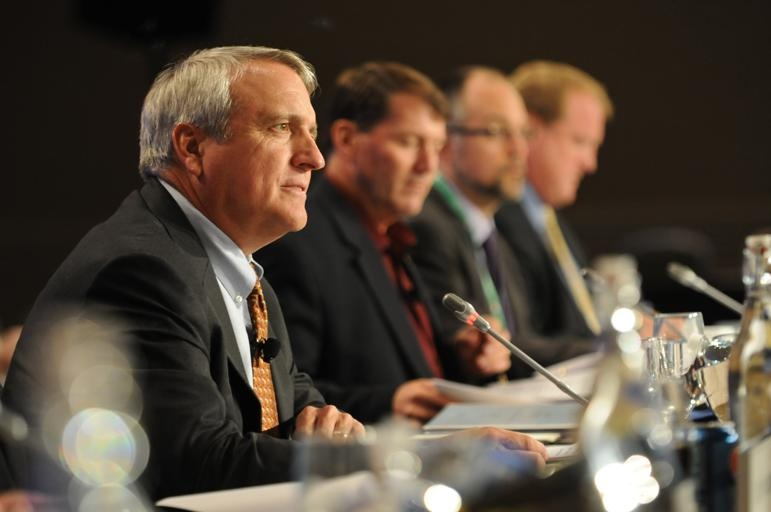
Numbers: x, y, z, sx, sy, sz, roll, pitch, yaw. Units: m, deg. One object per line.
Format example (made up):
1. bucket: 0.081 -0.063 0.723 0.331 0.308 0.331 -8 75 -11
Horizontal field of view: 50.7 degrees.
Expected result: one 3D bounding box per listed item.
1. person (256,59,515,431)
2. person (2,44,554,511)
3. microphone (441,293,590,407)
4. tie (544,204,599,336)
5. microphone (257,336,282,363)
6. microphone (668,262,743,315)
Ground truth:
1. person: -0.111 0.071 3.527 1.142 1.618 1.034 -4 -9 16
2. person: -0.254 0.035 2.191 1.236 1.037 0.856 -3 -6 5
3. microphone: 0.429 0.328 2.789 0.563 0.046 0.062 34 -29 10
4. tie: 0.766 0.069 3.413 0.072 0.688 0.073 16 -45 -44
5. microphone: -0.275 0.225 1.976 0.061 0.050 0.033 -18 12 18
6. microphone: 1.444 0.154 3.698 0.072 0.069 0.420 -24 42 -39
